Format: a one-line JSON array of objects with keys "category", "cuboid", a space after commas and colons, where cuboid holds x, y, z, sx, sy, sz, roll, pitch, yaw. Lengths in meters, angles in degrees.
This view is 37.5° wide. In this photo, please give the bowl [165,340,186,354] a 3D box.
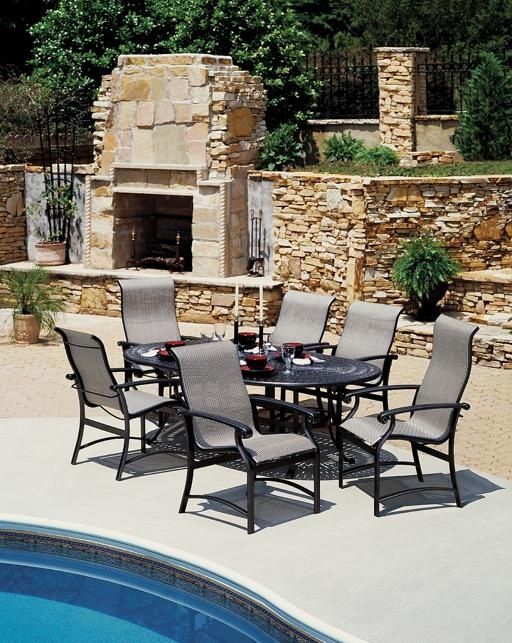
[{"category": "bowl", "cuboid": [-0.632, 0.200, 5.884, 0.129, 0.061, 0.121, 1, 0, 0]}]

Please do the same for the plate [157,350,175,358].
[{"category": "plate", "cuboid": [-0.687, 0.239, 5.715, 0.124, 0.027, 0.138, 0, 11, 3]}]
